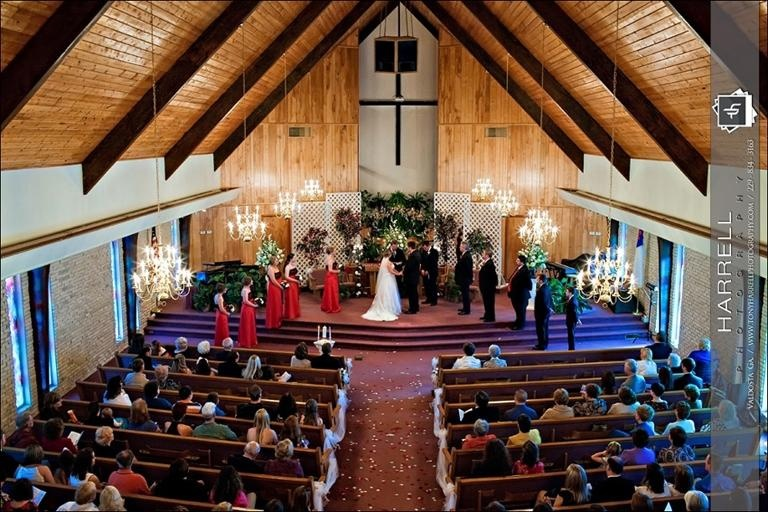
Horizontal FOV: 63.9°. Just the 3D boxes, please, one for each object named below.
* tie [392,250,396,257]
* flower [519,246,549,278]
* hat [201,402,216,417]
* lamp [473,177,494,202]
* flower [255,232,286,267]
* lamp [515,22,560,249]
[{"bbox_3d":[0.300,-0.055,18.214,0.116,0.127,0.029,-2,-14,22],"label":"tie"},{"bbox_3d":[4.263,0.191,17.438,0.778,0.841,0.795,-3,11,-30],"label":"flower"},{"bbox_3d":[-2.947,2.557,10.296,0.190,0.243,0.240,2,23,-7],"label":"hat"},{"bbox_3d":[3.274,-2.103,20.323,0.754,0.977,0.813,2,41,6],"label":"lamp"},{"bbox_3d":[-3.498,0.040,19.300,0.694,0.919,0.697,-10,-2,-19],"label":"flower"},{"bbox_3d":[4.733,-2.749,19.015,1.204,5.417,1.437,2,4,37],"label":"lamp"}]
